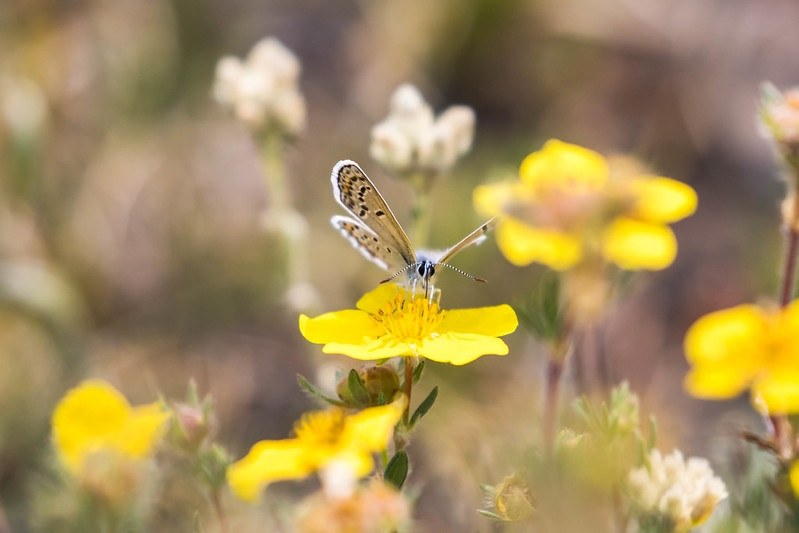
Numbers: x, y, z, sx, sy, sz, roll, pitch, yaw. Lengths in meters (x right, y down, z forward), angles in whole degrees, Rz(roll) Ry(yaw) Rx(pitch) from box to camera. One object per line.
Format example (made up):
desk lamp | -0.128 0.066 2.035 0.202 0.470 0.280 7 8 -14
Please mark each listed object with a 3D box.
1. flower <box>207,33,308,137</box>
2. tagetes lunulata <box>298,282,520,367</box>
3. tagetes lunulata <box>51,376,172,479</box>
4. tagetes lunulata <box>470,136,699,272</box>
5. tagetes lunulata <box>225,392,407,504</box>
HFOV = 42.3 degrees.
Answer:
flower | -0.869 -1.086 6.304 0.540 0.426 0.463 -6 54 -12
tagetes lunulata | 0.042 0.300 5.423 1.133 0.253 0.559 6 54 -4
tagetes lunulata | -1.547 0.905 5.443 0.615 0.349 0.425 14 53 2
tagetes lunulata | 1.028 -0.263 6.067 1.169 0.636 0.786 24 54 10
tagetes lunulata | -0.440 0.913 5.198 0.721 0.616 0.621 27 55 13
